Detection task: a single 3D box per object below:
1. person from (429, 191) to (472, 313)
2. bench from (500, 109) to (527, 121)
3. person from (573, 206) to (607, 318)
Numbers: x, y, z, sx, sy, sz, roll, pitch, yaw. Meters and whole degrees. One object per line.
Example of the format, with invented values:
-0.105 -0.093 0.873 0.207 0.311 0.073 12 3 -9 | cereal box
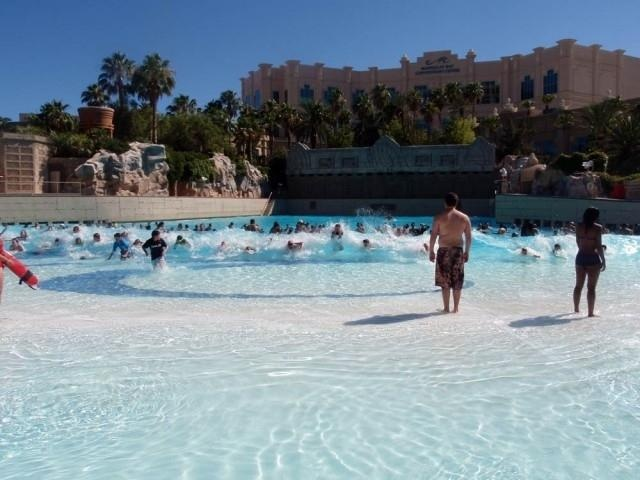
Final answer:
1.811 0.206 7.760 0.547 1.724 0.452 0 7 11 | person
18.229 -11.841 52.357 2.499 0.564 2.464 1 8 11 | bench
3.832 0.295 7.891 0.375 1.535 0.529 2 7 24 | person
